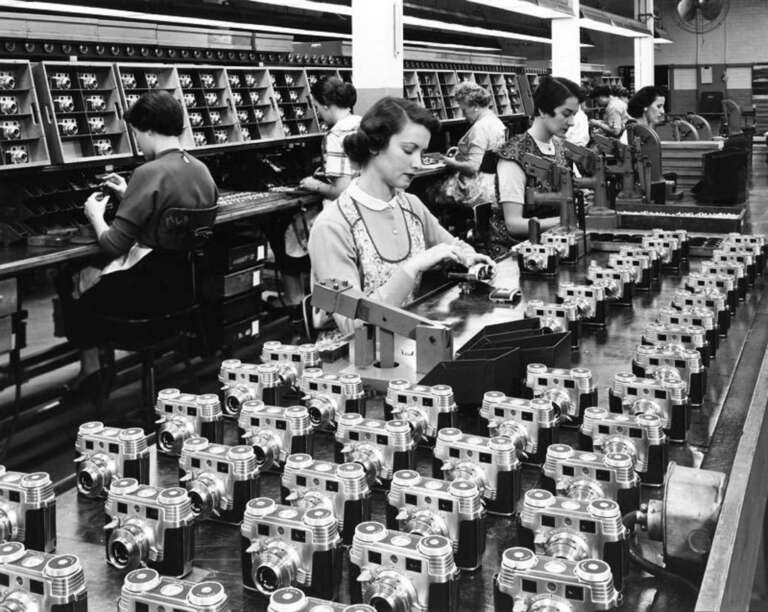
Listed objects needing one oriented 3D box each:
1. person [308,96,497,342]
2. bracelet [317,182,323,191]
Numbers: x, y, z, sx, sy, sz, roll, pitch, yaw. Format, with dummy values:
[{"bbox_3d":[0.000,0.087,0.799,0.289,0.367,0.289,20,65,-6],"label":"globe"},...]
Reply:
[{"bbox_3d":[0.055,-0.246,2.145,0.611,0.852,0.606,8,26,8],"label":"person"},{"bbox_3d":[-0.506,-0.936,5.112,0.049,0.050,0.049,-15,23,-37],"label":"bracelet"}]
